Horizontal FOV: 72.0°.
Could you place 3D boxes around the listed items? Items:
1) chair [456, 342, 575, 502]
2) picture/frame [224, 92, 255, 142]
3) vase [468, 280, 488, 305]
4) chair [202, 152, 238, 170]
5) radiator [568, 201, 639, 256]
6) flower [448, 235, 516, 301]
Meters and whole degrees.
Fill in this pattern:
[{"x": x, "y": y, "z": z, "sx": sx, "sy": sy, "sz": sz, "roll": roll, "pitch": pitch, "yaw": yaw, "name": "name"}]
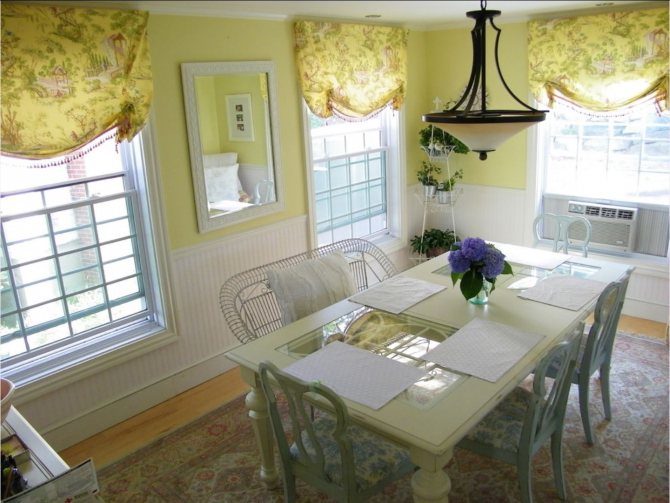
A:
[{"x": 0.930, "y": 0.842, "z": 2.301, "sx": 0.371, "sy": 1.039, "sz": 0.514, "roll": 13, "pitch": 23, "yaw": 42, "name": "chair"}, {"x": -0.749, "y": -1.052, "z": 3.638, "sx": 0.209, "sy": 0.361, "sz": 0.029, "roll": 4, "pitch": 20, "yaw": 12, "name": "picture/frame"}, {"x": 0.840, "y": 0.240, "z": 2.752, "sx": 0.132, "sy": 0.145, "sz": 0.133, "roll": 4, "pitch": 18, "yaw": 15, "name": "vase"}, {"x": -0.926, "y": -0.703, "z": 3.608, "sx": 0.112, "sy": 0.126, "sz": 0.418, "roll": 4, "pitch": 9, "yaw": 44, "name": "chair"}, {"x": 2.525, "y": -0.230, "z": 4.290, "sx": 0.486, "sy": 0.386, "sz": 0.173, "roll": 7, "pitch": 18, "yaw": 36, "name": "radiator"}, {"x": 0.844, "y": 0.091, "z": 2.721, "sx": 0.390, "sy": 0.411, "sz": 0.321, "roll": -4, "pitch": 17, "yaw": -3, "name": "flower"}]
